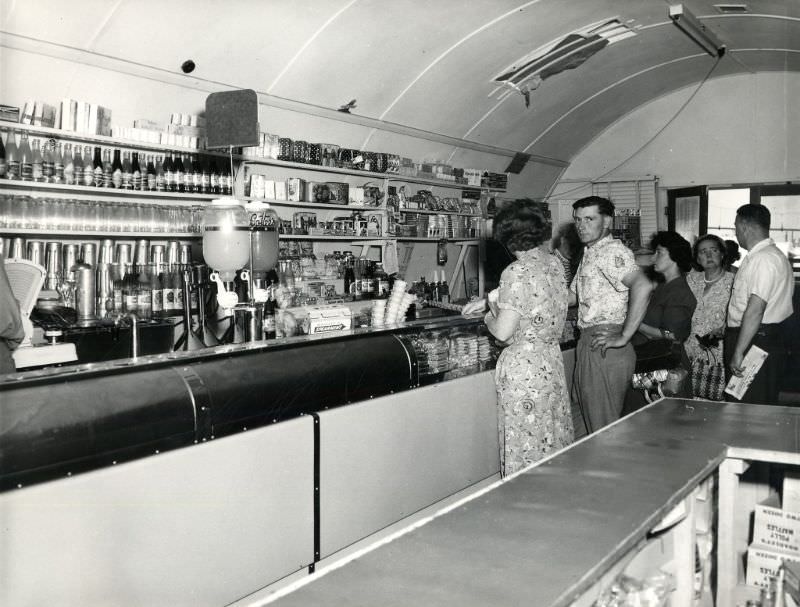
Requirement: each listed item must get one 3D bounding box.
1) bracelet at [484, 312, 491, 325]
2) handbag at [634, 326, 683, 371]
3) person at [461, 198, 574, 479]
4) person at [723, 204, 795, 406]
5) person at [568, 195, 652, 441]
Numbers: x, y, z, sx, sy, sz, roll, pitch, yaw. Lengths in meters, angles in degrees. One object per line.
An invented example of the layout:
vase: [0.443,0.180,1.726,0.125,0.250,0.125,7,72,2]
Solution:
bracelet: [0.523,0.088,3.849,0.065,0.085,0.045,-4,8,7]
handbag: [1.596,0.337,4.130,0.261,0.147,0.203,-9,11,-7]
person: [0.738,0.202,3.567,0.477,1.522,0.335,2,10,9]
person: [2.437,0.063,4.449,0.380,1.453,0.810,8,13,38]
person: [1.289,0.074,4.020,0.376,1.436,0.476,0,10,-4]
